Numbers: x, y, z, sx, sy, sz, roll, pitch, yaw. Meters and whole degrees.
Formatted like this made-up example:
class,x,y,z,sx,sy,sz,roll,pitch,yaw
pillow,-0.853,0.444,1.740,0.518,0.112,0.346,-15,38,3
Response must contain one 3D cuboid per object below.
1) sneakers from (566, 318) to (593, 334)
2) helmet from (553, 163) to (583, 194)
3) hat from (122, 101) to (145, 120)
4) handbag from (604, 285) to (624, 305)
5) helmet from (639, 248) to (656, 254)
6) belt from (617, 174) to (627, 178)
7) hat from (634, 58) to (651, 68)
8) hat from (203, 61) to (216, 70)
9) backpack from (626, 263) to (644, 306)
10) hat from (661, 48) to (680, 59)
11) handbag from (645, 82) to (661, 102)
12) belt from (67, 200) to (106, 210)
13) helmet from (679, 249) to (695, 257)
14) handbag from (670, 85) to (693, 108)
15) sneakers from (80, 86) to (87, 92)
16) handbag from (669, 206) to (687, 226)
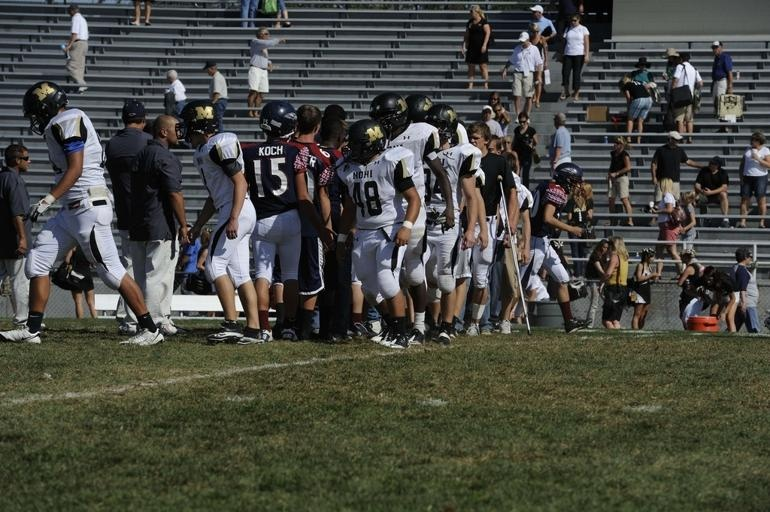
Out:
class,x,y,z,sx,sy,sz,roll,pitch,yaw
sneakers,3.360,1.186,27.277,0.592,0.238,0.215,-13,12,-34
helmet,3.181,-1.383,27.381,0.534,0.448,0.397,5,15,-4
hat,-4.107,-2.358,25.845,0.331,0.362,0.362,2,4,-7
handbag,4.262,0.716,29.295,0.329,0.346,0.328,1,1,4
helmet,4.975,-0.094,29.664,0.225,0.107,0.190,0,-3,-6
belt,5.027,-1.722,33.494,0.175,0.088,0.134,2,4,0
hat,5.871,-4.351,35.901,0.323,0.147,0.357,4,0,10
hat,-4.055,-4.318,35.787,0.398,0.215,0.287,2,12,7
backpack,4.716,0.555,29.792,0.346,0.655,0.499,12,-35,-17
hat,6.478,-4.594,35.856,0.498,0.222,0.569,-7,3,19
handbag,6.111,-3.702,36.058,0.186,0.479,0.367,-4,12,16
belt,-4.674,-0.815,24.739,0.607,0.172,0.091,2,4,-3
helmet,5.740,-0.064,29.939,0.149,0.171,0.189,0,-6,-35
handbag,6.650,-3.568,35.424,0.478,0.394,0.662,4,7,31
sneakers,-7.381,-4.072,38.585,0.176,0.130,0.262,1,4,-14
handbag,5.819,-0.795,31.292,0.313,0.378,0.400,-9,-11,14
